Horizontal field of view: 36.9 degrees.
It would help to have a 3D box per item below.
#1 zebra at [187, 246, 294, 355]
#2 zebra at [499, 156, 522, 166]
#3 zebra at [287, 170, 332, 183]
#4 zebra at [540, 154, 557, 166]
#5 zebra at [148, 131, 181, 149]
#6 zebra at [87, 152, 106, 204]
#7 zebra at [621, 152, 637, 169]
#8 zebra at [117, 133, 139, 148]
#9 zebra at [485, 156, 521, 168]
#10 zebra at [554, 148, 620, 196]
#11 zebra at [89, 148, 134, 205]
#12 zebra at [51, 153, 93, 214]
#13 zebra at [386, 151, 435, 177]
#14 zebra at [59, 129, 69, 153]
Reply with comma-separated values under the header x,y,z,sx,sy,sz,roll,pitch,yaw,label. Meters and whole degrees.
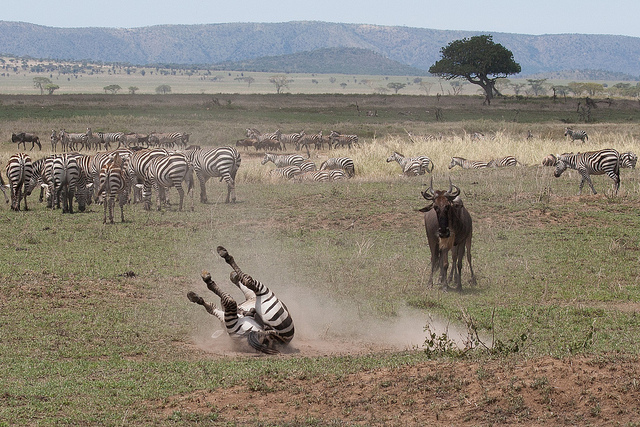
x,y,z,sx,sy,sz,roll,pitch,yaw,label
-2.043,2.534,27.923,2.531,3.177,0.819,0,4,-8,zebra
8.829,-2.454,44.699,0.916,0.433,1.766,2,4,21,zebra
-0.464,-1.657,43.099,1.671,0.886,0.437,3,-6,8,zebra
10.516,-2.479,44.567,0.935,0.665,0.287,-9,24,-26,zebra
-9.201,-4.408,57.475,1.981,0.830,1.144,1,4,6,zebra
-8.818,-1.411,37.825,0.525,2.043,1.106,3,-9,-20,zebra
13.741,-2.357,42.726,0.625,0.726,1.294,2,4,17,zebra
-11.484,-4.441,57.714,1.117,0.789,2.334,1,4,3,zebra
8.638,-2.418,44.945,1.442,0.752,0.405,-5,-25,2,zebra
11.310,-1.750,39.708,1.420,1.771,3.557,-1,4,-24,zebra
-8.165,-1.405,37.489,1.323,2.097,3.133,3,-6,-6,zebra
-9.749,-1.187,37.545,1.103,2.249,1.693,2,4,14,zebra
4.363,-2.202,44.197,2.786,1.557,0.867,-1,1,13,zebra
-15.039,-4.285,56.310,0.504,1.248,2.820,-1,4,-16,zebra
